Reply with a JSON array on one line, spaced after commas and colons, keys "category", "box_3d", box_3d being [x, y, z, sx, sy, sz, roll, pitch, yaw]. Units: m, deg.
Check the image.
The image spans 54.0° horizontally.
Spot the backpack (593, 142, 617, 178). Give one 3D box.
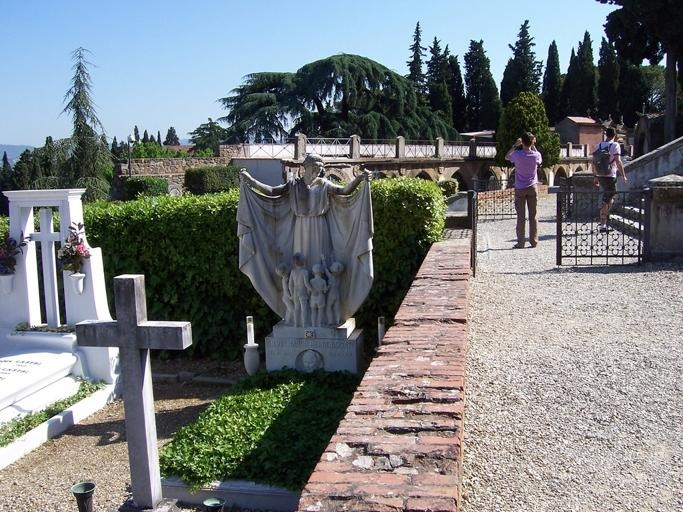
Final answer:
[{"category": "backpack", "box_3d": [5.451, -2.028, 13.909, 0.416, 0.676, 0.438, 2, 7, 7]}]

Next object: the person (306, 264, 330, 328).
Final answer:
[{"category": "person", "box_3d": [-0.311, 0.531, 9.261, 0.276, 0.870, 0.199, -3, 5, -3]}]

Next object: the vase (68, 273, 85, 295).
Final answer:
[{"category": "vase", "box_3d": [-4.130, 0.410, 10.380, 0.253, 0.346, 0.139, -2, 6, 13]}]

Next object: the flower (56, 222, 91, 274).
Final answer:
[{"category": "flower", "box_3d": [-4.167, -0.132, 10.384, 0.463, 0.768, 0.408, -6, 6, -25]}]
